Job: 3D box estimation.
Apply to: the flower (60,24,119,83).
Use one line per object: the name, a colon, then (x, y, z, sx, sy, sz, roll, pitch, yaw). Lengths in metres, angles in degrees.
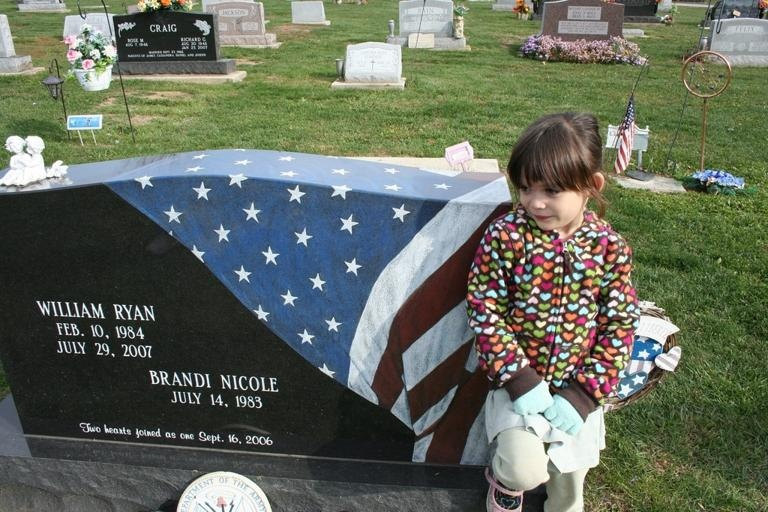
flower: (-4.981, -3.430, 13.243, 0.767, 0.913, 0.535, -7, 26, -20)

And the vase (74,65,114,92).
vase: (-5.071, -3.080, 13.497, 0.510, 0.319, 0.499, -16, 24, -39)
